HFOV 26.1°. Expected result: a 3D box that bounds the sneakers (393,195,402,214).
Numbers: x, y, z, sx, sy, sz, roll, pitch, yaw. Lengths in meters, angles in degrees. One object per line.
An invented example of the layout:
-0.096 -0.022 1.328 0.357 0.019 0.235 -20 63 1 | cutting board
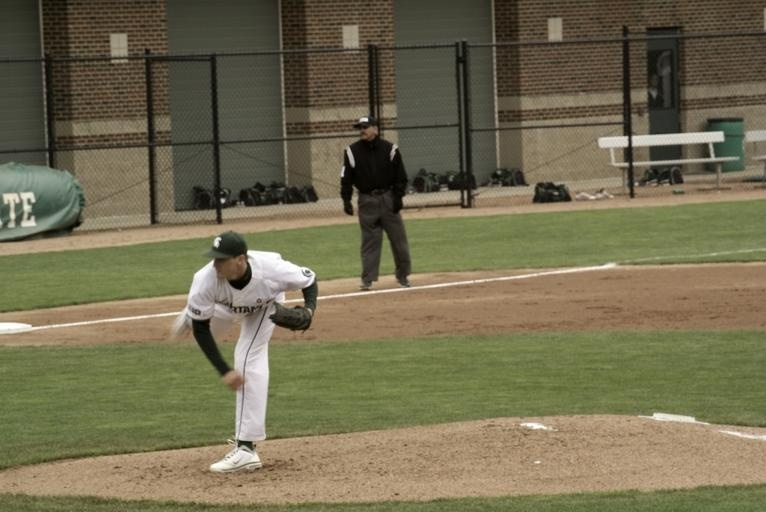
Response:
0.260 -0.959 30.727 0.165 0.330 0.177 -3 6 0 | sneakers

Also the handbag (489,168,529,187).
3.246 -2.069 43.433 0.836 0.379 0.498 2 2 14 | handbag

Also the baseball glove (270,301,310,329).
-1.389 0.950 24.729 0.522 0.355 0.230 19 -25 -15 | baseball glove

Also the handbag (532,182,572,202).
4.099 -1.543 40.373 0.909 0.455 0.662 -2 6 5 | handbag

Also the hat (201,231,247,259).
-2.324 -0.147 24.395 0.551 0.298 0.375 -2 13 -12 | hat

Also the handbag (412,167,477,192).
1.395 -1.928 42.705 1.307 0.542 0.774 -1 7 6 | handbag

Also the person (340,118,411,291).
-0.158 -0.980 30.949 1.206 3.256 0.679 -3 7 -1 | person
